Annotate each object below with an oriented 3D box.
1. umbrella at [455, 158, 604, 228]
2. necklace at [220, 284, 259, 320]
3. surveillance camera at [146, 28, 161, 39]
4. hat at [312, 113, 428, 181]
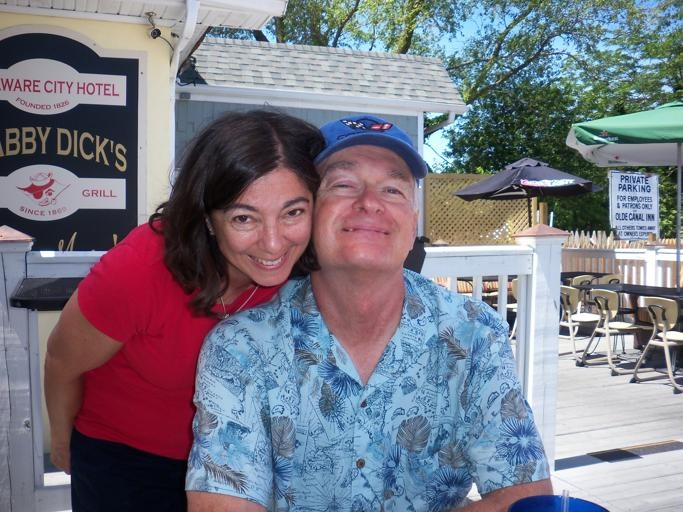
[{"bbox_3d":[3.122,-1.150,12.901,1.247,0.942,1.299,0,-1,-4],"label":"umbrella"},{"bbox_3d":[-0.574,0.252,4.321,0.149,0.199,0.053,21,-11,35],"label":"necklace"},{"bbox_3d":[-1.554,-1.856,6.429,0.093,0.088,0.043,1,10,-15],"label":"surveillance camera"},{"bbox_3d":[0.125,-0.565,4.109,0.443,0.359,0.680,4,-3,-4],"label":"hat"}]
